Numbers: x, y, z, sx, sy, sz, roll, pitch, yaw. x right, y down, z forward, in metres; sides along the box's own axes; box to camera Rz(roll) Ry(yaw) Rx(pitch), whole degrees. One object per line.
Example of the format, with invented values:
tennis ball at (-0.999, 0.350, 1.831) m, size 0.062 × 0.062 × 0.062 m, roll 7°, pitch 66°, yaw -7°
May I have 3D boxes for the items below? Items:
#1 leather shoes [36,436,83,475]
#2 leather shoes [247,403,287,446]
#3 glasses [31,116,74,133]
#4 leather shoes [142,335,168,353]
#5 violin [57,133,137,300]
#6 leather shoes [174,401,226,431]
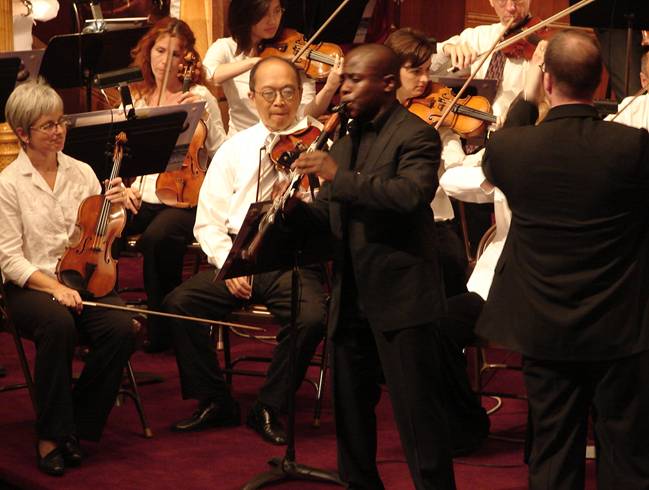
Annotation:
leather shoes at (-1.196, 0.953, 2.960) m, size 0.181 × 0.116 × 0.195 m, roll -6°, pitch 10°, yaw -31°
leather shoes at (-0.287, 0.884, 3.302) m, size 0.094 × 0.132 × 0.267 m, roll -16°, pitch 21°, yaw -30°
glasses at (-1.360, -0.599, 3.255) m, size 0.076 × 0.076 × 0.181 m, roll 8°, pitch 12°, yaw 44°
leather shoes at (-1.079, 0.622, 4.169) m, size 0.114 × 0.091 × 0.120 m, roll 0°, pitch 6°, yaw -8°
violin at (-1.164, 0.011, 3.271) m, size 0.306 × 0.510 × 0.199 m, roll -2°, pitch 8°, yaw -8°
leather shoes at (-0.626, 0.892, 3.456) m, size 0.312 × 0.133 × 0.111 m, roll -5°, pitch 9°, yaw -22°
